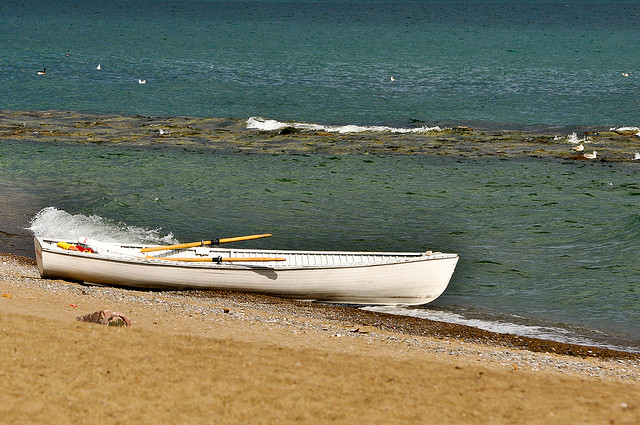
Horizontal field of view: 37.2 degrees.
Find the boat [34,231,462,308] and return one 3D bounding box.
[{"bbox_3d":[-4.783,3.556,60.902,26.622,4.346,2.954,1,18,-2],"label":"boat"}]
